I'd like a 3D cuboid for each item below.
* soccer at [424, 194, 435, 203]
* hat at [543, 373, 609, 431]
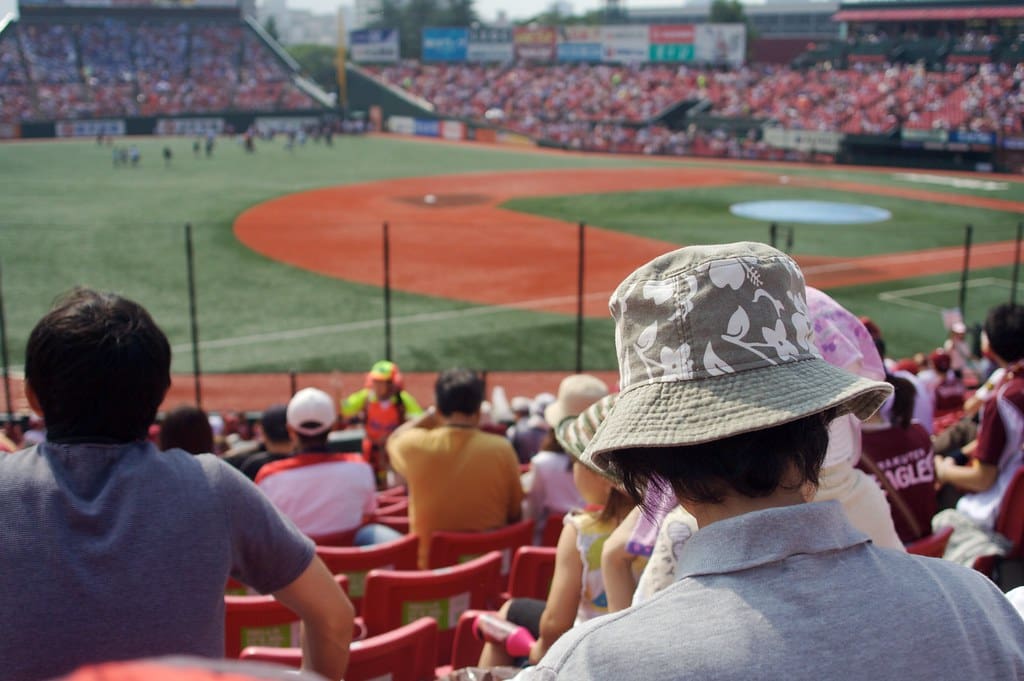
[{"bbox_3d":[-1.632,-2.733,31.379,0.182,0.102,0.184,-11,-6,36],"label":"soccer"},{"bbox_3d":[0.914,0.837,21.442,0.708,0.377,0.732,19,29,28],"label":"hat"}]
